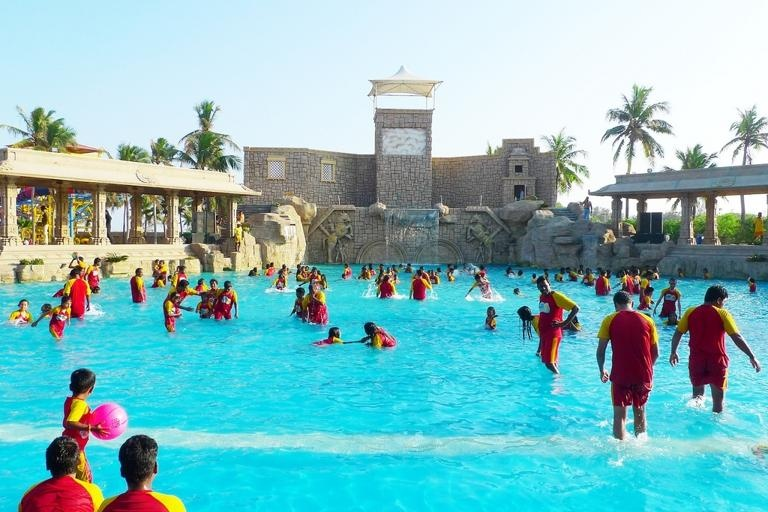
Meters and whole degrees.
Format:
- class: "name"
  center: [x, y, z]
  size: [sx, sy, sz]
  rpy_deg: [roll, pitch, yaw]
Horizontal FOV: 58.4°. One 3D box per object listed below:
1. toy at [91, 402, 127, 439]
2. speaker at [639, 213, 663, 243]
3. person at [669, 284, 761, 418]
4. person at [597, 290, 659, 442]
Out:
- class: "toy"
  center: [-3.783, 2.269, 9.413]
  size: [0.513, 0.378, 0.293]
  rpy_deg: [0, 0, -9]
- class: "speaker"
  center: [11.323, -1.170, 29.077]
  size: [1.039, 1.298, 1.266]
  rpy_deg: [0, 0, 21]
- class: "person"
  center: [5.356, 1.564, 11.262]
  size: [1.158, 2.134, 0.665]
  rpy_deg: [0, 0, 21]
- class: "person"
  center: [3.795, 1.729, 10.755]
  size: [0.901, 2.335, 0.409]
  rpy_deg: [0, 0, 7]
